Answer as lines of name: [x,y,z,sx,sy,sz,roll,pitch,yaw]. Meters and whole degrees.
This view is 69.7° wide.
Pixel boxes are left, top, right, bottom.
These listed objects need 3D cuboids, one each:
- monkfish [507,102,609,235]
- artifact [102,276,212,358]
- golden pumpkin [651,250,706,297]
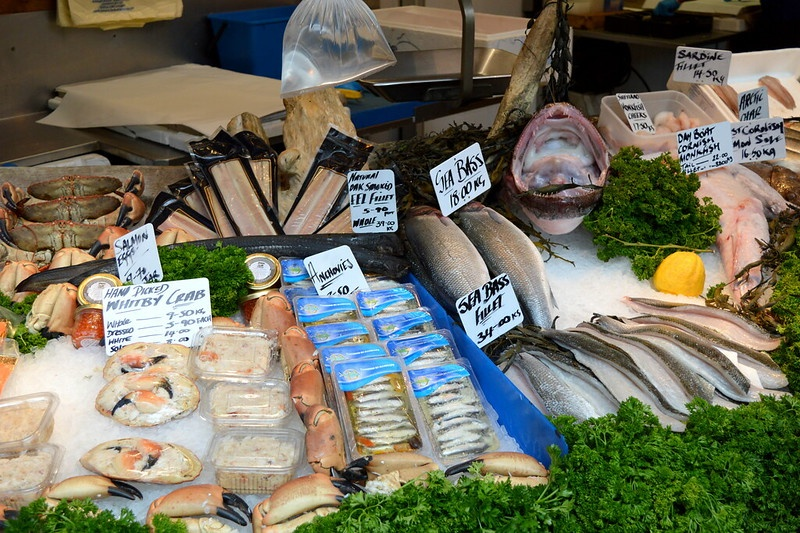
monkfish: [0.843,-0.521,3.171,0.566,0.424,0.676,4,68,3]
artifact: [-1.073,0.213,2.550,0.472,0.318,0.108,-5,6,-10]
golden pumpkin: [1.455,0.048,2.988,0.226,0.257,0.220,13,10,-1]
